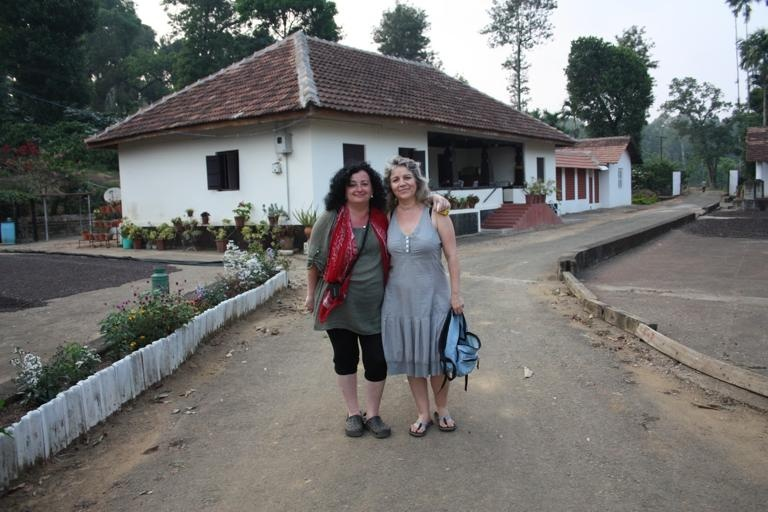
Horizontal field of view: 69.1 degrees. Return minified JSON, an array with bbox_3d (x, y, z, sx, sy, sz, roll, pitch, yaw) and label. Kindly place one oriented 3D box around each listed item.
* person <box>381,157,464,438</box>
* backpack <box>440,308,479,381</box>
[{"bbox_3d":[0.385,0.409,5.706,0.789,2.826,0.413,-1,5,7],"label":"person"},{"bbox_3d":[0.752,0.936,5.598,0.388,0.798,0.272,0,5,10],"label":"backpack"}]
